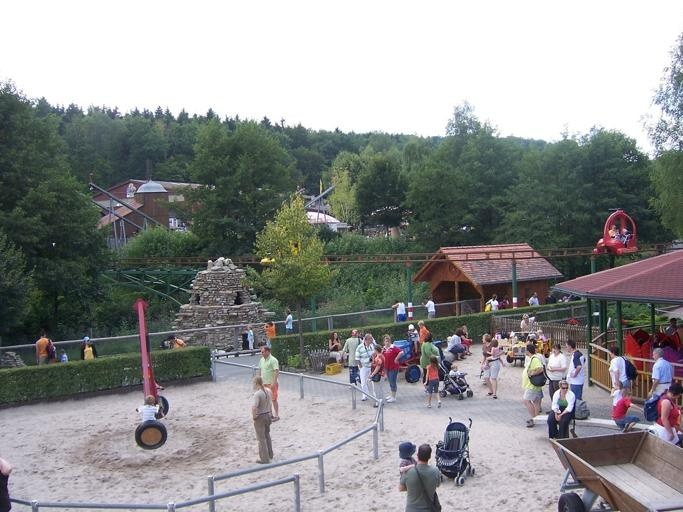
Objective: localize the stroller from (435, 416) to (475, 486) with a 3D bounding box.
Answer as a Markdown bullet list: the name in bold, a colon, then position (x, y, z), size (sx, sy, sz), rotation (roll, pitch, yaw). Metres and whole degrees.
- **stroller**: position (3.770, 6.499, 28.508), size (1.162, 2.056, 1.521), rotation (-4, -5, 24)

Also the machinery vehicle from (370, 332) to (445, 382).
- **machinery vehicle**: position (3.081, 4.456, 36.733), size (1.632, 1.886, 1.999), rotation (-3, 2, -35)

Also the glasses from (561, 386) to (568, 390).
- **glasses**: position (7.491, 4.473, 29.009), size (0.210, 0.120, 0.147), rotation (-2, -5, -4)

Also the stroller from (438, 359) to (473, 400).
- **stroller**: position (4.444, 4.988, 34.451), size (1.110, 1.540, 1.336), rotation (1, -6, -33)

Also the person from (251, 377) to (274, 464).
- **person**: position (-2.807, 5.644, 29.727), size (0.768, 2.914, 0.951), rotation (1, 5, 25)

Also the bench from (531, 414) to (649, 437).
- **bench**: position (8.528, 5.788, 29.539), size (3.949, 0.669, 2.585), rotation (-5, -7, 22)

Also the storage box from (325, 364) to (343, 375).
- **storage box**: position (-0.427, 5.060, 38.908), size (0.446, 0.400, 0.610), rotation (-5, -5, 41)

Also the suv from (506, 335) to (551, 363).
- **suv**: position (8.533, 4.207, 38.964), size (1.369, 1.109, 2.100), rotation (-6, -7, 39)

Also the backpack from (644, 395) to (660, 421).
- **backpack**: position (10.326, 5.093, 28.531), size (0.386, 0.893, 0.823), rotation (-1, -5, -5)
